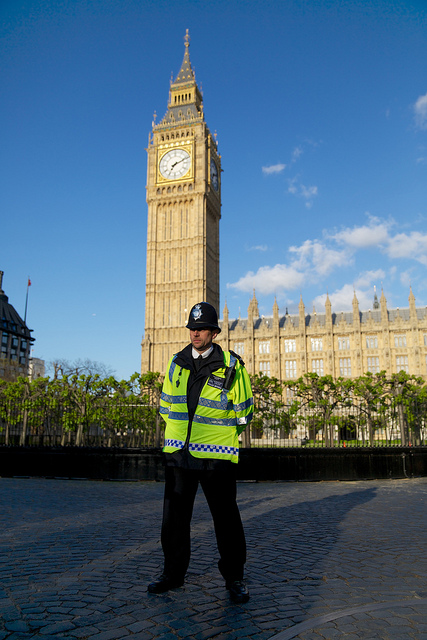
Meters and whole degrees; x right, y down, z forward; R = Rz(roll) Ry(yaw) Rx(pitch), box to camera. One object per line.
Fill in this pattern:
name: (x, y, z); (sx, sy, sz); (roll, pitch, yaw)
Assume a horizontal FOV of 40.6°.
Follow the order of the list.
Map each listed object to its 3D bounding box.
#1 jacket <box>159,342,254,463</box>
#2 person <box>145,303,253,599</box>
jacket: (-0.078, 0.611, 4.431); (0.708, 0.942, 0.347); (-6, -11, 21)
person: (-0.090, 0.921, 4.366); (0.763, 2.143, 0.314); (-4, -10, 14)
